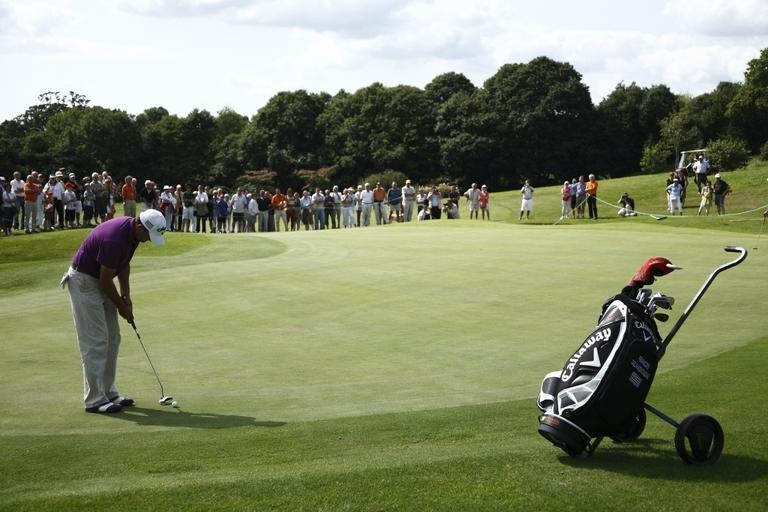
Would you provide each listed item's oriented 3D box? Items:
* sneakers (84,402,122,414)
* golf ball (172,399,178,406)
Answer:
[{"bbox_3d":[-4.818,2.613,16.086,0.571,0.193,0.217,-3,0,3],"label":"sneakers"},{"bbox_3d":[-3.648,2.571,16.382,0.080,0.077,0.082,-1,-8,0],"label":"golf ball"}]
